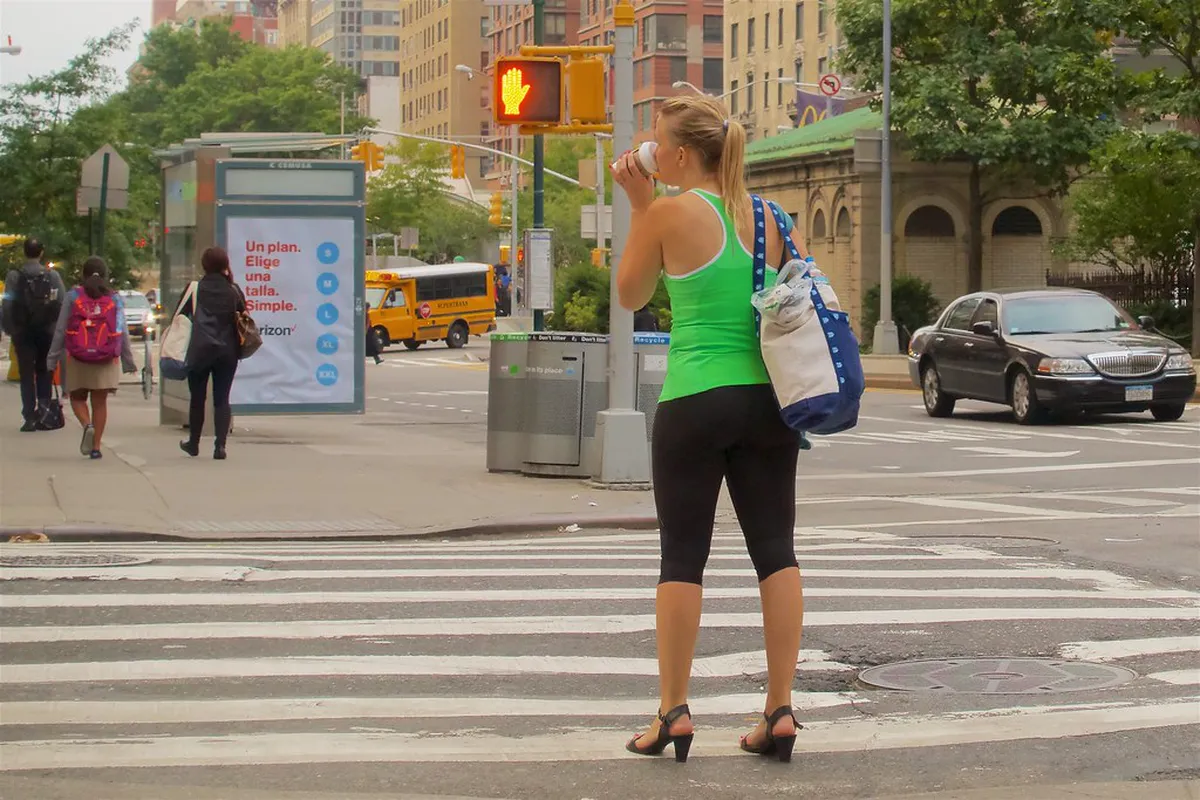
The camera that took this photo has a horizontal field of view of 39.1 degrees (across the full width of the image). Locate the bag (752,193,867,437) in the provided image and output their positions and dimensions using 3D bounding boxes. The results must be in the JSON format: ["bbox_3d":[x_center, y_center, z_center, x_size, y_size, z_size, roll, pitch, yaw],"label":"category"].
[{"bbox_3d":[0.933,-0.390,7.814,0.521,1.125,0.439,0,4,11],"label":"bag"}]

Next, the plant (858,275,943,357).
[{"bbox_3d":[8.265,-2.444,48.312,2.476,2.379,2.406,3,-5,-36],"label":"plant"}]

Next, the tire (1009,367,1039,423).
[{"bbox_3d":[5.985,-0.092,23.975,0.281,0.690,0.734,0,11,-7],"label":"tire"}]

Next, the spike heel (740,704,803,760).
[{"bbox_3d":[0.773,1.546,7.747,0.134,0.184,0.373,0,2,-20],"label":"spike heel"}]

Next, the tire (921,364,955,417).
[{"bbox_3d":[5.225,-0.159,26.236,0.285,0.757,0.807,1,7,-8],"label":"tire"}]

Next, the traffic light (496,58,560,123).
[{"bbox_3d":[-0.768,-3.298,17.926,0.791,0.670,0.262,1,0,-4],"label":"traffic light"}]

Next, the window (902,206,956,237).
[{"bbox_3d":[10.265,-5.520,52.962,1.276,1.043,0.279,4,5,7],"label":"window"}]

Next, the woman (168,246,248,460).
[{"bbox_3d":[-4.122,-0.475,17.795,0.935,2.198,0.717,3,5,-8],"label":"woman"}]

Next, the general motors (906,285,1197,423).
[{"bbox_3d":[6.497,-0.648,24.949,2.078,1.962,3.684,-2,4,-25],"label":"general motors"}]

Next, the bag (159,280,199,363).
[{"bbox_3d":[-4.351,-0.800,17.511,0.390,0.833,0.516,-2,4,-14],"label":"bag"}]
